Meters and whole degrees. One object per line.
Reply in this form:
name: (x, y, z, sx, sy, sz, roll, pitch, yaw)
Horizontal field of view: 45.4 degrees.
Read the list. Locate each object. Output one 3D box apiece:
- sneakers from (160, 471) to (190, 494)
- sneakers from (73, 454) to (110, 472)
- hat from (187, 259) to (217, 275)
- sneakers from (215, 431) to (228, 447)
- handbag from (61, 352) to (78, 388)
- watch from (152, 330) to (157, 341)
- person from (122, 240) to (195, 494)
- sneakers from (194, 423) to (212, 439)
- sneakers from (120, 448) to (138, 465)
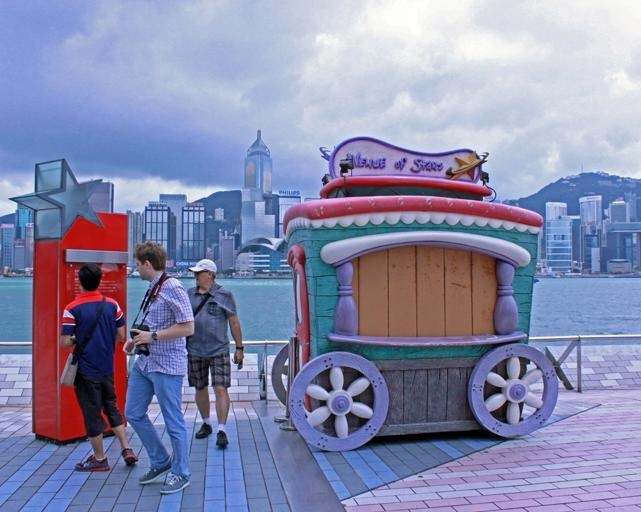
sneakers: (-1.458, 2.312, 7.772, 0.133, 0.145, 0.346, -5, -15, 23)
sneakers: (-2.413, 2.209, 8.141, 0.352, 0.157, 0.145, 4, -10, -1)
hat: (-1.432, 0.109, 9.399, 0.341, 0.182, 0.237, 8, -10, -26)
sneakers: (-1.138, 2.117, 8.918, 0.135, 0.171, 0.261, 0, 8, -6)
handbag: (-2.640, 1.207, 8.057, 0.165, 0.390, 0.221, -5, 9, -36)
watch: (-1.656, 0.812, 7.674, 0.061, 0.101, 0.060, -1, 8, -14)
person: (-1.635, 1.115, 7.821, 0.725, 2.462, 0.529, 5, 9, 30)
sneakers: (-1.414, 2.120, 9.221, 0.091, 0.114, 0.271, -3, -10, 14)
sneakers: (-2.042, 2.189, 8.303, 0.095, 0.115, 0.256, -31, -36, -9)
